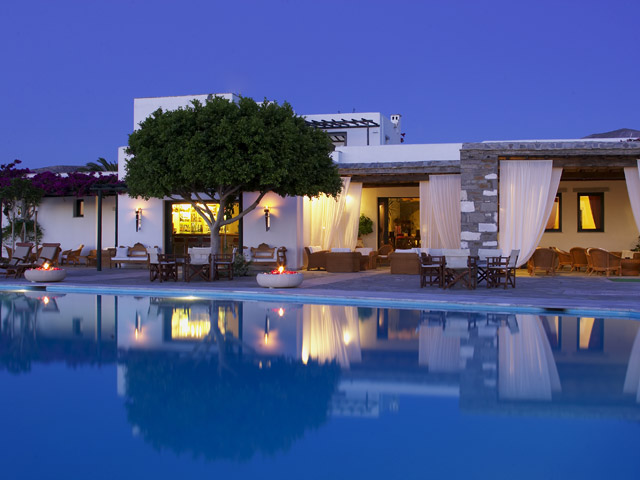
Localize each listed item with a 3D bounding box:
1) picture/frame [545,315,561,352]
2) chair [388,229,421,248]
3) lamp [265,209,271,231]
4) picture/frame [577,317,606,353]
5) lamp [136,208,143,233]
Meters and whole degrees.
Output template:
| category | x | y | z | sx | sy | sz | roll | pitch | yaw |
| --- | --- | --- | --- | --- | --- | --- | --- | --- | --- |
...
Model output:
| category | x | y | z | sx | sy | sz | roll | pitch | yaw |
| --- | --- | --- | --- | --- | --- | --- | --- | --- | --- |
| picture/frame | 3.676 | 1.444 | 10.904 | 0.275 | 0.144 | 2.715 | 2 | 7 | 18 |
| chair | 3.410 | -0.056 | 27.251 | 0.969 | 0.611 | 1.815 | 3 | 8 | 28 |
| lamp | -1.654 | -0.644 | 21.783 | 0.201 | 0.694 | 0.095 | -1 | 7 | -5 |
| picture/frame | 4.269 | 1.482 | 10.609 | 0.308 | 0.573 | 0.334 | 9 | 0 | -5 |
| lamp | -6.037 | -0.670 | 23.069 | 0.255 | 0.787 | 0.129 | -2 | 7 | -15 |
